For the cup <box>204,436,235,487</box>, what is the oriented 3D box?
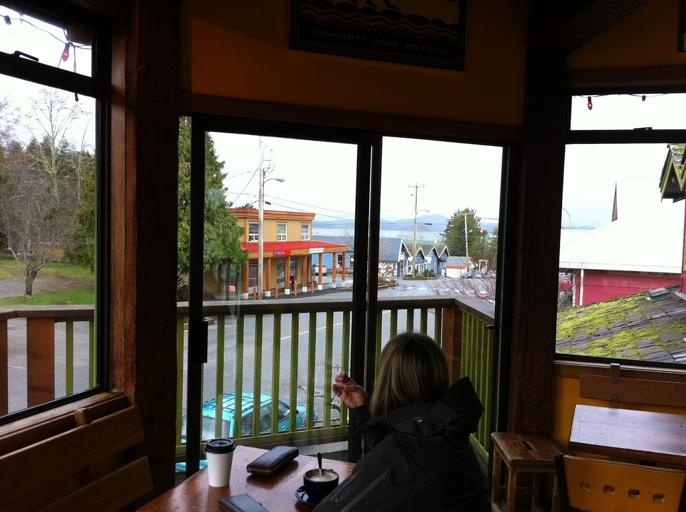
[{"bbox_3d":[-0.484,0.811,2.118,0.125,0.153,0.133,1,-4,0],"label":"cup"}]
